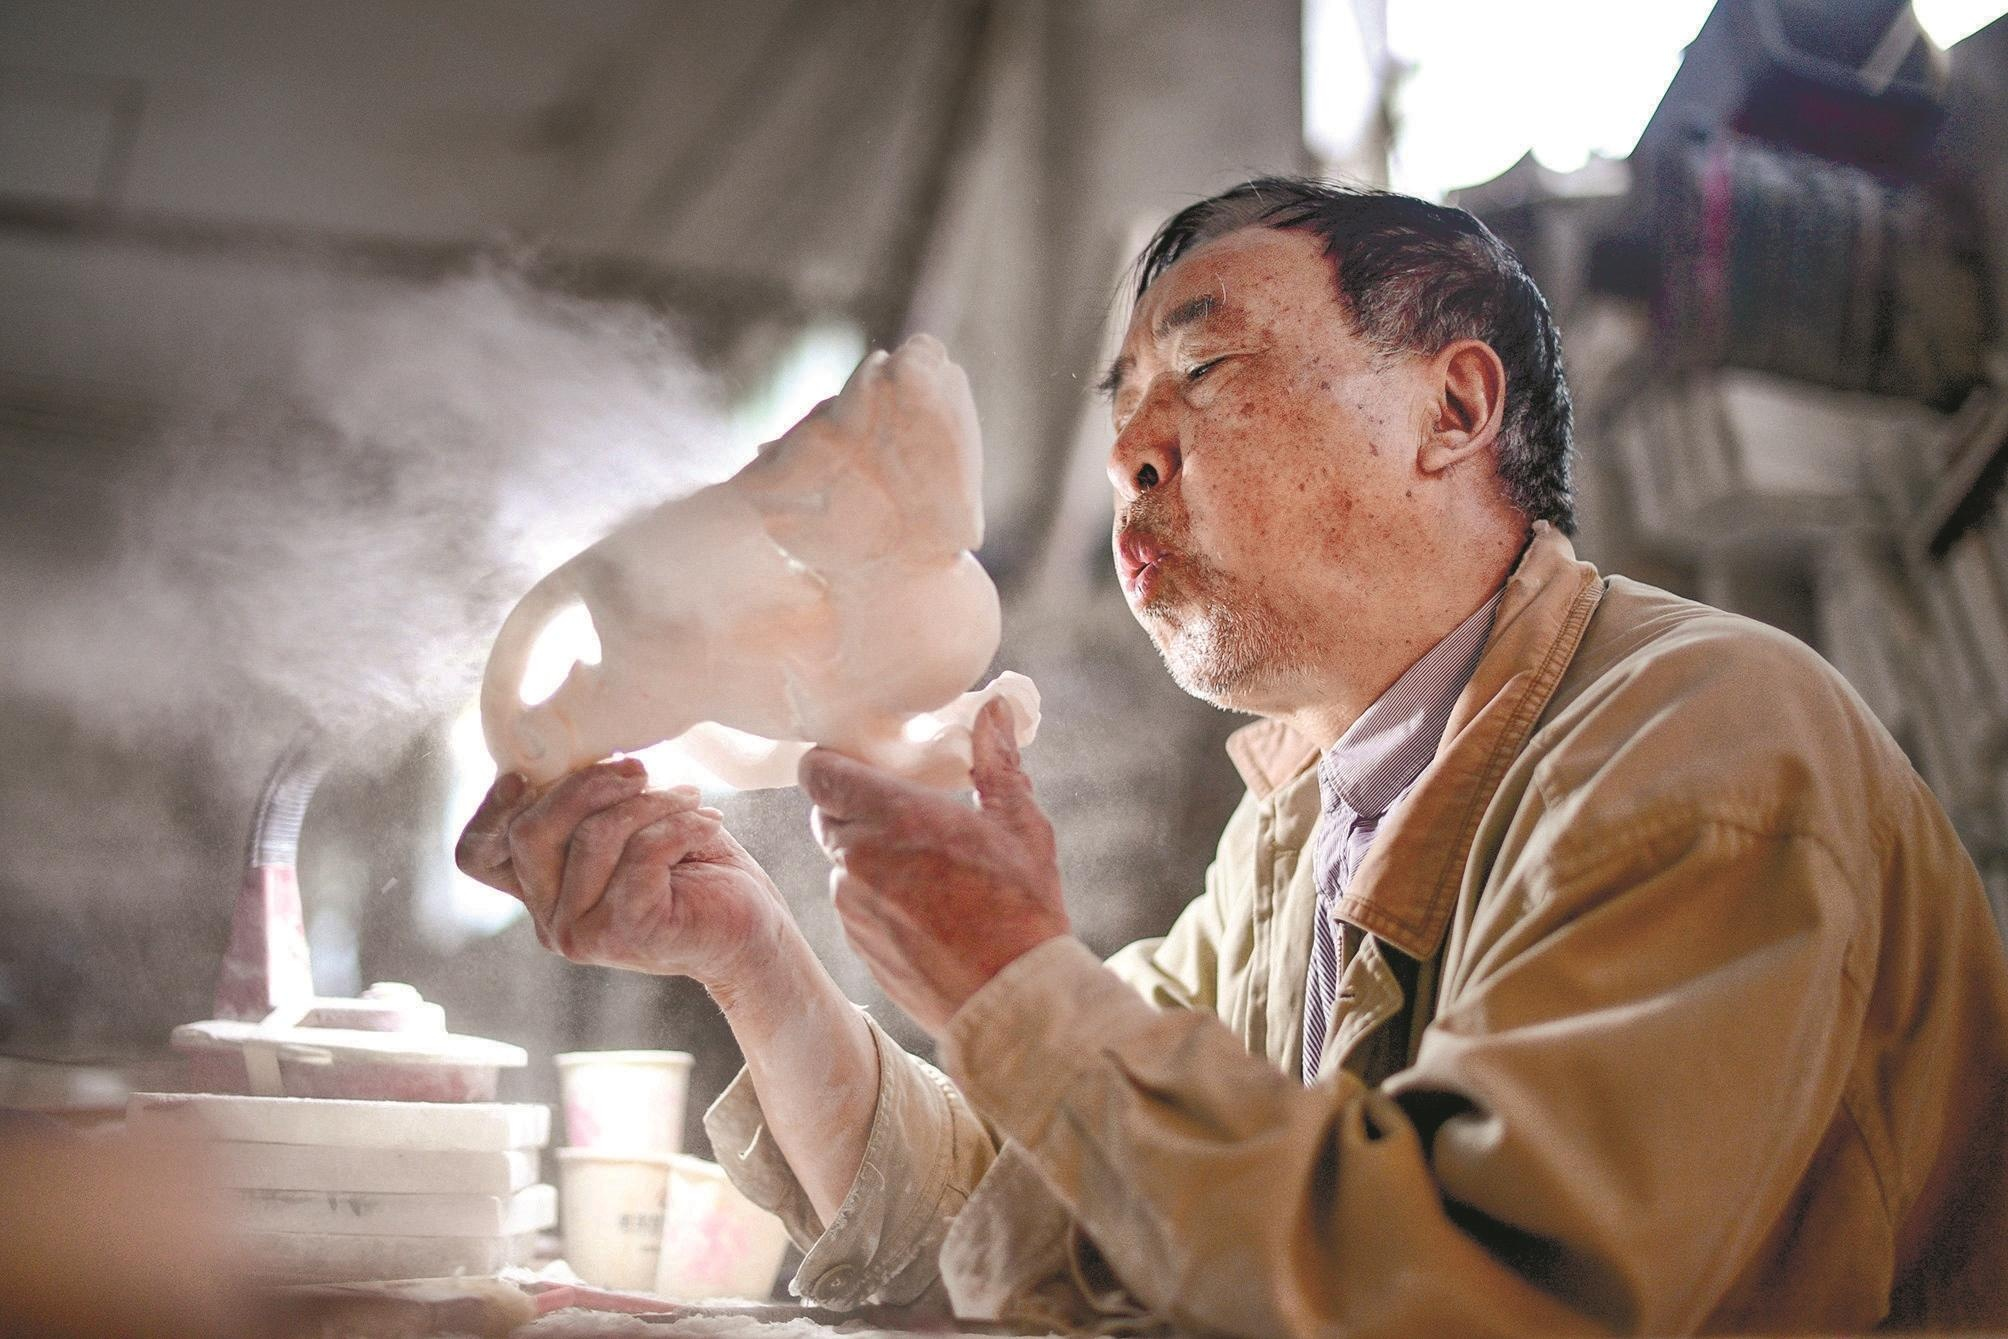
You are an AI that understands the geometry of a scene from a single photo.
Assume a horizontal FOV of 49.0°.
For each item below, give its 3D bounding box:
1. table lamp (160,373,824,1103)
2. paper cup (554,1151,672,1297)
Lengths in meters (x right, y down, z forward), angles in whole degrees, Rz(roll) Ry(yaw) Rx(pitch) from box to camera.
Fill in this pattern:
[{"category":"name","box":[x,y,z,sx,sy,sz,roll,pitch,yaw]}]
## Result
[{"category":"table lamp","box":[-1.005,0.392,3.911,0.826,0.896,0.675,2,-7,-16]},{"category":"paper cup","box":[-0.678,0.963,3.838,0.232,0.174,0.218,1,-11,0]}]
